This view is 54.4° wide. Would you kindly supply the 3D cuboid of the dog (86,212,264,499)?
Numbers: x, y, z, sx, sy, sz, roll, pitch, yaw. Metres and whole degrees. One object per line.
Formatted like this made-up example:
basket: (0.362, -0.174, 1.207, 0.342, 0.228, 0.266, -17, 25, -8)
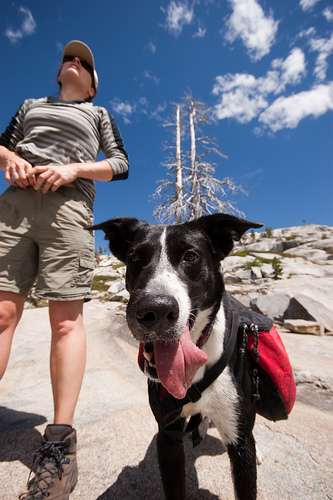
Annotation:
dog: (0.086, 0.664, 2.405, 1.048, 1.404, 1.407, 3, 4, -39)
